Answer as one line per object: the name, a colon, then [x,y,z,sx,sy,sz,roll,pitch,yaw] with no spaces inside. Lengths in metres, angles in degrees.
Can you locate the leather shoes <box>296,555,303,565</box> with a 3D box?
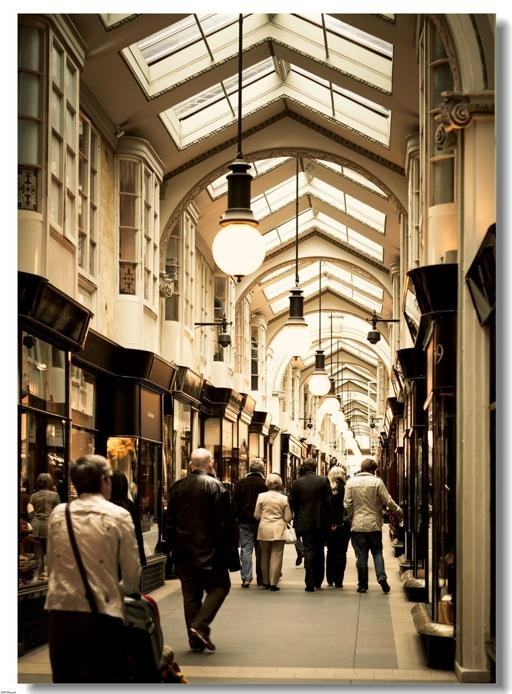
leather shoes: [0.648,3.201,13.591,0.074,0.149,0.291,2,-3,3]

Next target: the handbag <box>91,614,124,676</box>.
handbag: [-0.620,1.258,3.817,0.058,0.269,0.165,-7,-14,37]

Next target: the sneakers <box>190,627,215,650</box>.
sneakers: [-0.380,2.051,6.380,0.073,0.102,0.234,9,-42,56]

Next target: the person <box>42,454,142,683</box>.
person: [-0.698,0.952,3.907,0.396,0.941,0.249,5,-11,-19]

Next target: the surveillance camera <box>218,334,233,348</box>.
surveillance camera: [-0.559,-0.107,16.357,0.166,0.254,0.212,1,-4,-9]

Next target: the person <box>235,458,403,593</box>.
person: [1.030,2.076,10.530,1.330,1.517,0.842,-6,-13,30]

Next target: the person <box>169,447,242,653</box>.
person: [-0.385,1.440,6.527,0.516,1.434,0.396,3,-10,-9]
